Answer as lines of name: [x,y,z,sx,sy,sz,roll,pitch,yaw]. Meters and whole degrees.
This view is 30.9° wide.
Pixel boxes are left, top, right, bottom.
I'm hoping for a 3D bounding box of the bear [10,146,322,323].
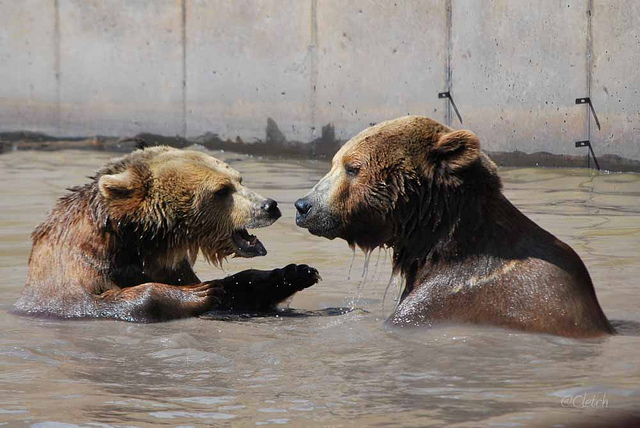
bear: [-1.440,0.138,9.249,2.019,1.297,0.923,-3,10,-14]
